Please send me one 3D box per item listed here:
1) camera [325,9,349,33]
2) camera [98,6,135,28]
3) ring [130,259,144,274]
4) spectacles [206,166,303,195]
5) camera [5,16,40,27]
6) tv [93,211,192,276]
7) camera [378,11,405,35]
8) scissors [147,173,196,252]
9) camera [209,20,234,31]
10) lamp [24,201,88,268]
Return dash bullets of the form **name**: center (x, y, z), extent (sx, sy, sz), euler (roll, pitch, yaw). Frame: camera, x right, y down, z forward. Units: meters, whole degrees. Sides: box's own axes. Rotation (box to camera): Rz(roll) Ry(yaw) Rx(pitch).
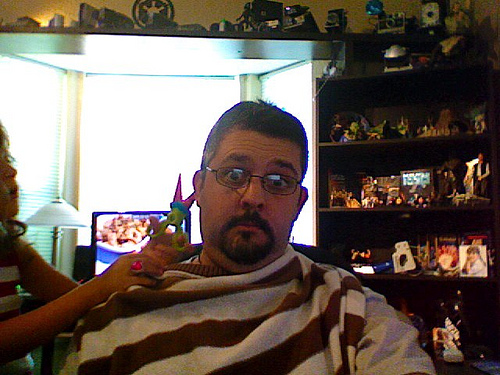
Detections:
- **camera**: center (0.364, -0.702, 1.953), extent (0.083, 0.105, 0.106), euler (7, 16, 24)
- **camera**: center (-0.525, -0.669, 1.830), extent (0.127, 0.065, 0.043), euler (5, -3, -11)
- **ring**: center (-0.385, 0.274, 1.579), extent (0.049, 0.043, 0.016), euler (-7, -8, 5)
- **spectacles**: center (0.013, -0.019, 1.578), extent (0.319, 0.089, 0.026), euler (2, -4, 1)
- **camera**: center (-0.857, -0.622, 1.743), extent (0.120, 0.042, 0.028), euler (2, -4, -8)
- **tv**: center (-0.370, 0.175, 1.709), extent (0.406, 0.225, 0.014), euler (-4, 23, -28)
- **camera**: center (0.593, -0.690, 1.943), extent (0.151, 0.090, 0.077), euler (-1, 10, 4)
- **scissors**: center (-0.255, 0.087, 1.556), extent (0.008, 0.266, 0.187), euler (-18, -30, 39)
- **camera**: center (-0.108, -0.672, 1.934), extent (0.102, 0.056, 0.052), euler (1, 7, 0)
- **lamp**: center (-0.745, 0.194, 1.773), extent (0.231, 0.271, 0.214), euler (2, 0, -19)
